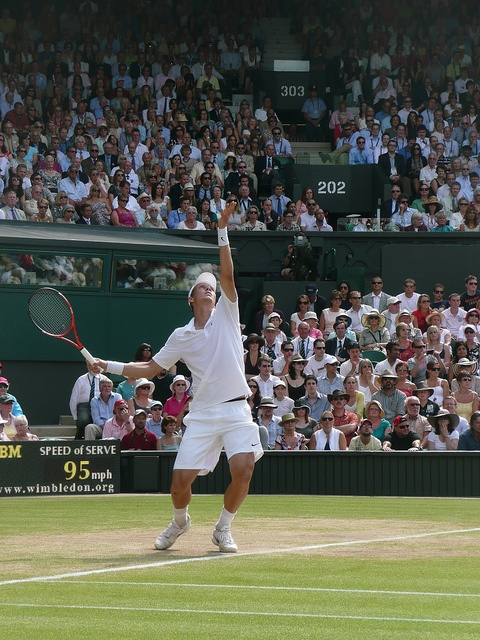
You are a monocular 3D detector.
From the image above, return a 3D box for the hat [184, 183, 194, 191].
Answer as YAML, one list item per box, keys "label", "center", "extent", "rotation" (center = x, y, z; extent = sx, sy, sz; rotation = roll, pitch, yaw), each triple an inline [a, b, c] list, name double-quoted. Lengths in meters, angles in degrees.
- label: "hat"
  center: [-0.683, -1.803, 20.512]
  extent: [0.108, 0.066, 0.114]
  rotation: [1, -3, -27]

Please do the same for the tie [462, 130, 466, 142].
- label: "tie"
  center: [3.740, -3.012, 24.943]
  extent: [0.029, 0.155, 0.084]
  rotation: [-14, -2, 44]

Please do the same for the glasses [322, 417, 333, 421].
- label: "glasses"
  center: [0.872, 0.964, 14.814]
  extent: [0.097, 0.050, 0.057]
  rotation: [-2, 5, 0]

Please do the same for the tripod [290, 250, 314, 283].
- label: "tripod"
  center: [0.859, -0.726, 19.529]
  extent: [0.323, 0.445, 0.245]
  rotation: [-3, 5, -7]

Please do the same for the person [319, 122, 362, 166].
- label: "person"
  center: [1.571, -2.675, 23.487]
  extent: [0.317, 0.836, 0.594]
  rotation: [28, 33, 34]

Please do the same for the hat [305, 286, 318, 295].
- label: "hat"
  center: [0.893, -0.364, 18.514]
  extent: [0.132, 0.131, 0.173]
  rotation: [-2, 5, -2]

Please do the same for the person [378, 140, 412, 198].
- label: "person"
  center: [2.354, -2.284, 22.860]
  extent: [0.482, 0.872, 1.014]
  rotation: [-1, 5, 6]

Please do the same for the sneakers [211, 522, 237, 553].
- label: "sneakers"
  center: [-0.098, 1.506, 10.461]
  extent: [0.149, 0.174, 0.280]
  rotation: [-3, 5, -9]

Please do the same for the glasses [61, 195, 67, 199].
- label: "glasses"
  center: [-2.245, -1.581, 19.570]
  extent: [0.043, 0.058, 0.114]
  rotation: [-1, 5, 16]

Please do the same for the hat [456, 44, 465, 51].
- label: "hat"
  center: [4.171, -5.086, 28.382]
  extent: [0.109, 0.148, 0.142]
  rotation: [3, 8, -21]

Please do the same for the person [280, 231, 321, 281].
- label: "person"
  center: [0.748, -0.807, 19.659]
  extent: [0.592, 0.902, 0.505]
  rotation: [0, -3, -1]

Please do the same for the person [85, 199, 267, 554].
- label: "person"
  center: [-0.286, 0.400, 10.571]
  extent: [0.861, 2.421, 0.648]
  rotation: [-1, 5, 7]

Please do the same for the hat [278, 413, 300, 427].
- label: "hat"
  center: [0.480, 0.978, 14.977]
  extent: [0.123, 0.059, 0.149]
  rotation: [-6, -23, -26]

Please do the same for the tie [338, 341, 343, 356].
- label: "tie"
  center: [1.167, 0.326, 17.399]
  extent: [0.068, 0.130, 0.030]
  rotation: [0, -19, 7]

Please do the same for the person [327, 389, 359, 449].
- label: "person"
  center: [1.046, 1.156, 15.356]
  extent: [0.309, 0.916, 0.266]
  rotation: [-4, -1, 7]

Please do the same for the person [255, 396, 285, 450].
- label: "person"
  center: [0.298, 1.162, 15.226]
  extent: [0.363, 0.769, 0.281]
  rotation: [-1, 8, 0]

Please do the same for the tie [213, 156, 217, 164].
- label: "tie"
  center: [-0.357, -2.344, 22.232]
  extent: [0.069, 0.102, 0.029]
  rotation: [2, -17, -13]

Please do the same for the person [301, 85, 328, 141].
- label: "person"
  center: [1.268, -3.403, 25.209]
  extent: [0.399, 0.912, 0.481]
  rotation: [-2, 5, 2]

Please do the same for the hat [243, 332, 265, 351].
- label: "hat"
  center: [0.151, 0.206, 16.683]
  extent: [0.170, 0.062, 0.185]
  rotation: [1, -31, -10]

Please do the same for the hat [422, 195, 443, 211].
- label: "hat"
  center: [2.776, -1.675, 21.639]
  extent: [0.196, 0.129, 0.244]
  rotation: [0, -35, 8]

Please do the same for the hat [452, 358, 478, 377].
- label: "hat"
  center: [2.429, 0.498, 16.303]
  extent: [0.180, 0.080, 0.220]
  rotation: [2, -27, -4]

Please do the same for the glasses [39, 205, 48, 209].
- label: "glasses"
  center: [-2.468, -1.421, 19.145]
  extent: [0.056, 0.060, 0.125]
  rotation: [2, 7, 41]

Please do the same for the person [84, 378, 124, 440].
- label: "person"
  center: [-1.333, 1.003, 15.542]
  extent: [0.395, 0.818, 0.478]
  rotation: [0, -5, 9]

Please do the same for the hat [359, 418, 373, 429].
- label: "hat"
  center: [1.254, 1.009, 14.892]
  extent: [0.116, 0.085, 0.242]
  rotation: [-2, 5, 6]

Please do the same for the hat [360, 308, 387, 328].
- label: "hat"
  center: [1.565, -0.025, 17.631]
  extent: [0.171, 0.095, 0.260]
  rotation: [1, -45, 2]

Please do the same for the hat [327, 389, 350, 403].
- label: "hat"
  center: [1.023, 0.782, 15.461]
  extent: [0.225, 0.184, 0.398]
  rotation: [-2, 5, 3]

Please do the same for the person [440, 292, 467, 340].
- label: "person"
  center: [2.576, -0.045, 18.092]
  extent: [0.398, 0.753, 0.421]
  rotation: [0, -7, 6]

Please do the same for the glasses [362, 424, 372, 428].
- label: "glasses"
  center: [1.257, 1.027, 14.810]
  extent: [0.050, 0.042, 0.088]
  rotation: [7, -6, -8]

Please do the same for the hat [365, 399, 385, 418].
- label: "hat"
  center: [1.356, 0.879, 15.205]
  extent: [0.130, 0.203, 0.175]
  rotation: [-2, 2, 9]

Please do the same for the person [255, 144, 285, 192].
- label: "person"
  center: [0.477, -2.140, 22.265]
  extent: [0.358, 0.936, 0.503]
  rotation: [5, -8, -31]

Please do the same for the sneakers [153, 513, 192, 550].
- label: "sneakers"
  center: [-0.443, 1.483, 10.615]
  extent: [0.114, 0.147, 0.360]
  rotation: [30, 50, 18]

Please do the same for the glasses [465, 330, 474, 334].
- label: "glasses"
  center: [2.599, 0.127, 16.998]
  extent: [0.102, 0.072, 0.055]
  rotation: [-2, 5, 1]

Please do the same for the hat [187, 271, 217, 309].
- label: "hat"
  center: [-0.247, -0.234, 10.776]
  extent: [0.167, 0.300, 0.084]
  rotation: [8, 5, 0]

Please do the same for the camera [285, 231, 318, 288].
- label: "camera"
  center: [0.749, -0.784, 19.643]
  extent: [0.578, 0.884, 0.497]
  rotation: [0, -3, -1]

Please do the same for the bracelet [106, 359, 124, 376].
- label: "bracelet"
  center: [-0.876, 0.328, 10.761]
  extent: [0.130, 0.103, 0.098]
  rotation: [7, -16, -8]

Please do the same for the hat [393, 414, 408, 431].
- label: "hat"
  center: [1.605, 0.996, 15.029]
  extent: [0.089, 0.087, 0.121]
  rotation: [-1, -7, -20]

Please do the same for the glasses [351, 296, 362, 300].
- label: "glasses"
  center: [1.413, -0.260, 18.157]
  extent: [0.112, 0.043, 0.129]
  rotation: [-3, 5, -4]

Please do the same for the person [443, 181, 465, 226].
- label: "person"
  center: [3.094, -1.480, 21.878]
  extent: [0.333, 1.014, 0.330]
  rotation: [2, -9, 12]

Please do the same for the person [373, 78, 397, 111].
- label: "person"
  center: [2.556, -3.937, 26.297]
  extent: [0.269, 0.462, 0.803]
  rotation: [1, 17, 6]

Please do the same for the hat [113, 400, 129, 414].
- label: "hat"
  center: [-1.184, 0.848, 15.130]
  extent: [0.103, 0.122, 0.155]
  rotation: [6, -39, -29]
